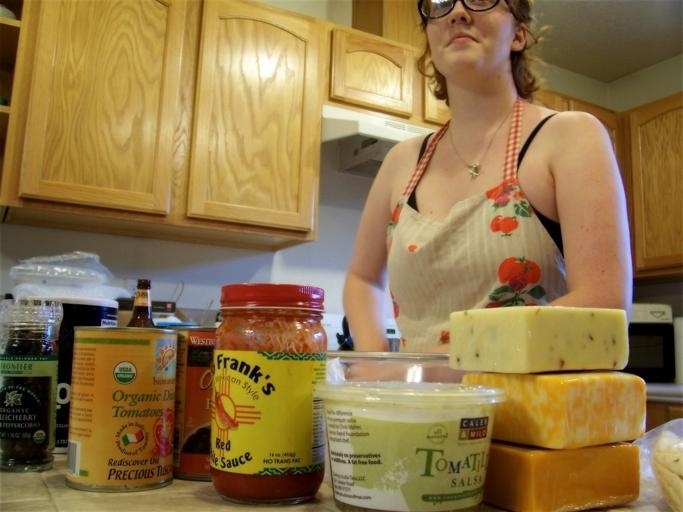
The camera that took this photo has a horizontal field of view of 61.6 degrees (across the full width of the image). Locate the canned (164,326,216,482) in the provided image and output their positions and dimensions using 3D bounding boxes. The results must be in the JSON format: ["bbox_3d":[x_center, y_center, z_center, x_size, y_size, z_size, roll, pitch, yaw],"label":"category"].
[{"bbox_3d":[-0.167,0.164,0.636,0.038,0.148,0.063,1,0,-18],"label":"canned"}]

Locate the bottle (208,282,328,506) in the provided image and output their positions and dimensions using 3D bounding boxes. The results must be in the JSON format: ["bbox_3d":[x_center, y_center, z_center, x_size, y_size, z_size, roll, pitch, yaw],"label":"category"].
[{"bbox_3d":[-0.079,0.136,0.611,0.084,0.231,0.097,4,-2,-23],"label":"bottle"}]

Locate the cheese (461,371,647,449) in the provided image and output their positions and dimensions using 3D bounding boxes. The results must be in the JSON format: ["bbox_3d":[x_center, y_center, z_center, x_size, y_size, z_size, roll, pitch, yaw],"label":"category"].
[{"bbox_3d":[0.238,0.129,0.606,0.090,0.056,0.121,3,-5,-28],"label":"cheese"}]

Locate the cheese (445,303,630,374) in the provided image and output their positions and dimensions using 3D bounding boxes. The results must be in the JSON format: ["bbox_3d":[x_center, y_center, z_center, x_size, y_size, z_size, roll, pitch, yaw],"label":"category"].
[{"bbox_3d":[0.202,0.086,0.600,0.182,0.067,0.092,-1,-8,21],"label":"cheese"}]

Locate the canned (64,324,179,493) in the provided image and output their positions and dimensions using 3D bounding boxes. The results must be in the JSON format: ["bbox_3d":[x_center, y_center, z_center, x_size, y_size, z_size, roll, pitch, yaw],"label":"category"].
[{"bbox_3d":[-0.237,0.158,0.628,0.099,0.164,0.111,-1,-7,30],"label":"canned"}]
